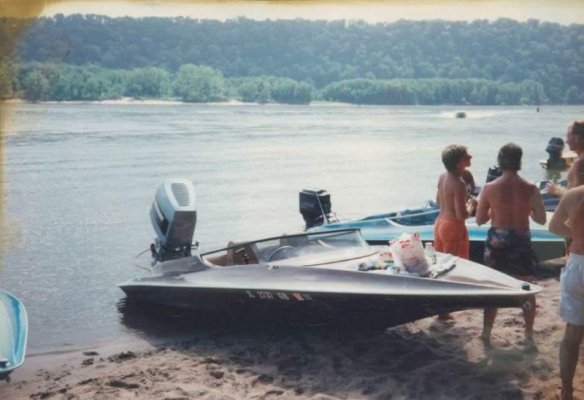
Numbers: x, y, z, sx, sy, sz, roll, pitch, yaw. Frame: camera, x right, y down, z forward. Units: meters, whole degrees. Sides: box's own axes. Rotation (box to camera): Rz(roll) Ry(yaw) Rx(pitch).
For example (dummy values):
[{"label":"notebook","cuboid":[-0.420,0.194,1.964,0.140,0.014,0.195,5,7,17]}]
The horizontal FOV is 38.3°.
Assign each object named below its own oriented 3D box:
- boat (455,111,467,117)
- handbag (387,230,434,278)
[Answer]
[{"label":"boat","cuboid":[16.973,-8.709,85.675,0.924,0.375,1.150,-1,6,15]},{"label":"handbag","cuboid":[3.508,1.642,25.827,1.035,1.142,1.246,-17,17,3]}]
